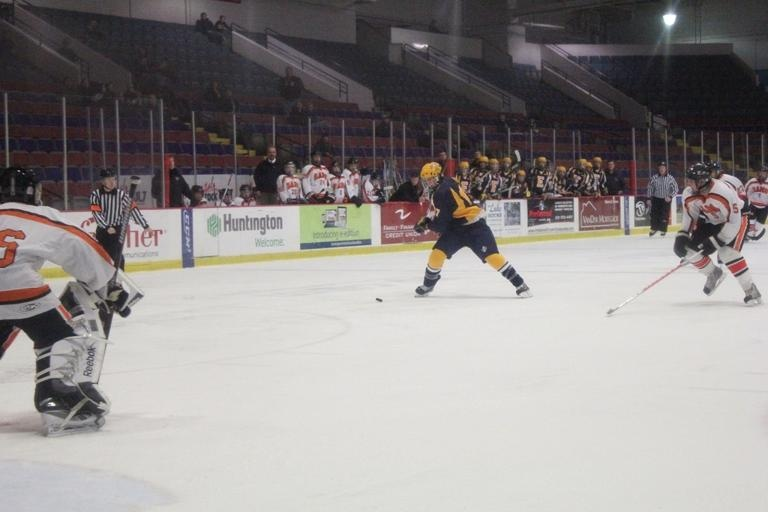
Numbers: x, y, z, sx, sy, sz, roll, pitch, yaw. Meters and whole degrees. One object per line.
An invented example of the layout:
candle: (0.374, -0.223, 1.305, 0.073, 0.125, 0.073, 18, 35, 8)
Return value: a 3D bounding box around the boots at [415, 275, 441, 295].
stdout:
boots: (0.561, 0.401, 10.613, 0.291, 0.296, 0.308, -2, 9, -5)
